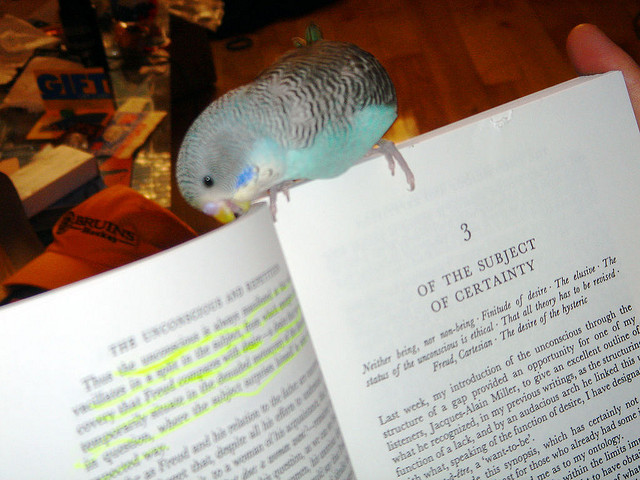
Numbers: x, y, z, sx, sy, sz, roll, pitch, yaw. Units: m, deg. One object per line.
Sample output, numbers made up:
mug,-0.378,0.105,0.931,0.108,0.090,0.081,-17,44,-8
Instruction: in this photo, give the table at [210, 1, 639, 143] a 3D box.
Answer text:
table,0.334,-0.478,1.395,0.783,0.167,0.516,-22,36,-18

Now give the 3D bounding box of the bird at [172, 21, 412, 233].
bird,-0.008,-0.112,0.879,0.284,0.373,0.218,-10,11,37
